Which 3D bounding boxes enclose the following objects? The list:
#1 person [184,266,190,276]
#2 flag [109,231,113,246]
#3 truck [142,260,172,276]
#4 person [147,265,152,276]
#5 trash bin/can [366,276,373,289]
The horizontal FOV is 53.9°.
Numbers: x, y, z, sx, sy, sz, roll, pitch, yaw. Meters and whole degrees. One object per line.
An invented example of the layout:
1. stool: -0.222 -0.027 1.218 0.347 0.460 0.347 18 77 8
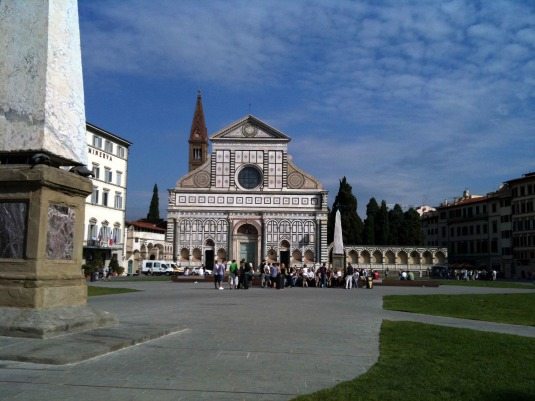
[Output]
1. person: -8.575 7.383 54.856 0.625 0.845 0.343 1 -31 -4
2. flag: -16.100 3.938 53.648 0.328 1.449 0.978 3 -11 -16
3. truck: -12.386 7.406 58.076 3.458 1.505 1.559 -2 -7 10
4. person: -13.073 7.761 57.934 0.644 0.840 0.342 -5 -18 6
5. trash bin/can: 6.379 5.130 33.033 0.339 0.739 1.124 -1 -10 8
